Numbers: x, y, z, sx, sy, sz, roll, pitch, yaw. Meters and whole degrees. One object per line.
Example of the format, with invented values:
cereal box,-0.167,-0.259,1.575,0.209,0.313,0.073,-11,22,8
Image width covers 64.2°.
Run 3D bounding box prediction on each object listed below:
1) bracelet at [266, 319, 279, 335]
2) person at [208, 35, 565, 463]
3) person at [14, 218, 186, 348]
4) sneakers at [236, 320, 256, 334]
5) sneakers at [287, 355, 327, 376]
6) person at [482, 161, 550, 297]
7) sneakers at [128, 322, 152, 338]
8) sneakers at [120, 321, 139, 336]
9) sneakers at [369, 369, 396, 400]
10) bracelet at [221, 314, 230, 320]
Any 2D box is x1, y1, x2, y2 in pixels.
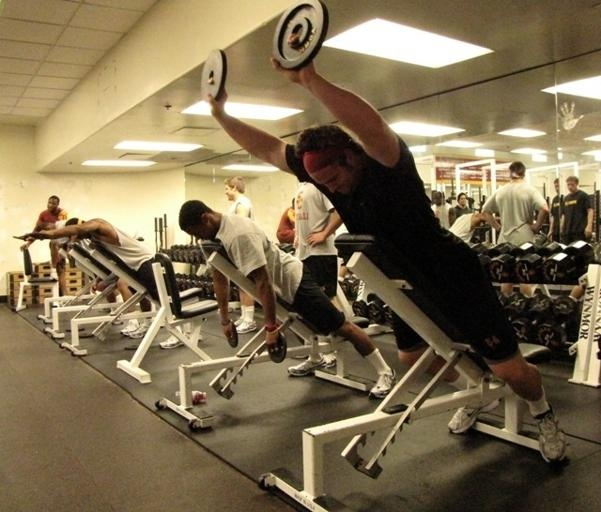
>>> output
bracelet,-0.116,0.299,2.028,0.051,0.031,0.058,-6,1,5
person,0.276,0.113,1.500,0.903,1.277,0.534,-8,4,-39
person,-1.405,0.211,3.633,1.190,0.884,0.574,-4,4,22
sneakers,-0.476,0.632,4.216,0.098,0.086,0.234,-5,-7,38
sneakers,0.051,0.650,2.881,0.261,0.097,0.092,-5,-4,-25
person,1.786,-0.174,3.843,0.441,1.107,0.570,-10,10,-34
sneakers,-1.428,0.666,4.266,0.274,0.108,0.111,-7,-9,39
sneakers,-1.569,0.665,4.431,0.114,0.075,0.191,-5,-1,27
sneakers,0.402,0.615,2.330,0.079,0.082,0.205,-9,12,46
bracelet,-0.365,0.302,2.335,0.049,0.027,0.020,-1,0,-4
